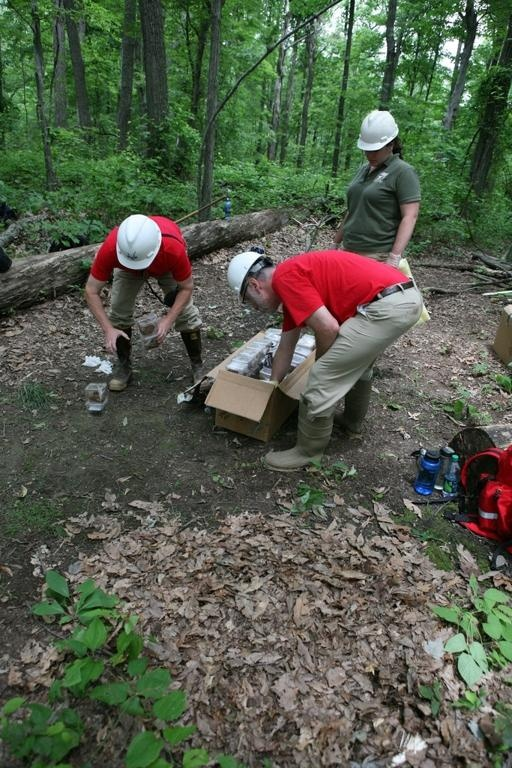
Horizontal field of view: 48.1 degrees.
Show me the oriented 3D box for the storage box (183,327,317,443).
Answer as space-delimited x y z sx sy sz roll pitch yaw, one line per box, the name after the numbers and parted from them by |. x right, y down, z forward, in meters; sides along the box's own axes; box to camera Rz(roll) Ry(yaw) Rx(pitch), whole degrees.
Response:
0.077 -0.034 3.806 0.613 0.290 0.890 13 35 26 | storage box

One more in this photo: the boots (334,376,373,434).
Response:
0.611 0.138 3.633 0.107 0.322 0.245 -37 66 -18 | boots

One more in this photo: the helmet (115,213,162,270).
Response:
-0.734 -0.862 3.610 0.258 0.340 0.169 1 -19 6 | helmet

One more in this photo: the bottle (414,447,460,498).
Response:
1.045 0.518 3.382 0.319 0.303 0.221 4 3 29 | bottle

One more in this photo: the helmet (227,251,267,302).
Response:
-0.068 -0.631 3.310 0.227 0.202 0.265 32 -2 7 | helmet

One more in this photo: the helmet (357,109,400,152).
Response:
0.820 -1.692 3.848 0.251 0.268 0.292 9 23 6 | helmet
